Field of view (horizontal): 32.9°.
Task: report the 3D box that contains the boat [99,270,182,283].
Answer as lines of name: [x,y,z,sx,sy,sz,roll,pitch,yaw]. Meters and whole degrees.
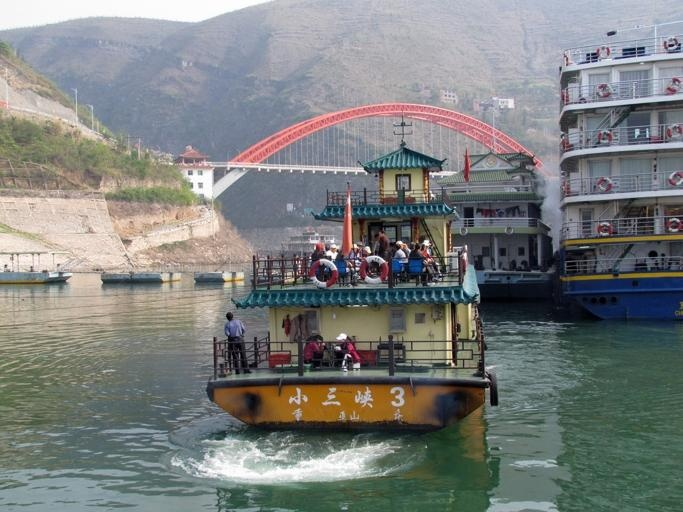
boat: [-33.053,3.611,189.475,14.064,2.272,5.436,2,-6,-39]

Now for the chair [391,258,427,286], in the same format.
chair: [6.772,1.470,111.776,2.960,2.257,2.885,0,3,8]

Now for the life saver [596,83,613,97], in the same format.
life saver: [30.483,-19.289,133.885,1.696,1.453,0.430,-17,-14,6]
